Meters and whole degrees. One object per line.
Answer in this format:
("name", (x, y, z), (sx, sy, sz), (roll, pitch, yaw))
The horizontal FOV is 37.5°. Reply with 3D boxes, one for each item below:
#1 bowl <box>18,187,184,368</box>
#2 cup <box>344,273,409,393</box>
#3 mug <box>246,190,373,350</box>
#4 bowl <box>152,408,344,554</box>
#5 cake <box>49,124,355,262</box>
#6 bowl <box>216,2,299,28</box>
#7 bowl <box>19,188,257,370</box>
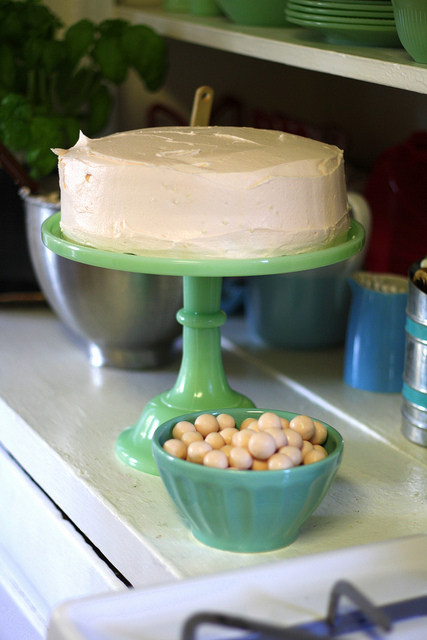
("bowl", (-0.170, -0.075, 0.975), (0.270, 0.190, 0.265), (0, 11, 0))
("cup", (0.211, 0.026, 0.833), (0.038, 0.140, 0.081), (-17, 26, -33))
("mug", (0.142, -0.070, 1.021), (0.302, 0.254, 0.160), (0, 22, 4))
("bowl", (0.034, 0.139, 0.518), (0.153, 0.073, 0.139), (-2, 3, 0))
("cake", (-0.009, -0.120, 0.564), (0.267, 0.097, 0.228), (3, 19, 11))
("bowl", (0.059, -0.412, 0.846), (0.109, 0.035, 0.054), (0, 20, 3))
("bowl", (-0.111, -0.065, 0.983), (0.300, 0.179, 0.287), (3, 7, 0))
